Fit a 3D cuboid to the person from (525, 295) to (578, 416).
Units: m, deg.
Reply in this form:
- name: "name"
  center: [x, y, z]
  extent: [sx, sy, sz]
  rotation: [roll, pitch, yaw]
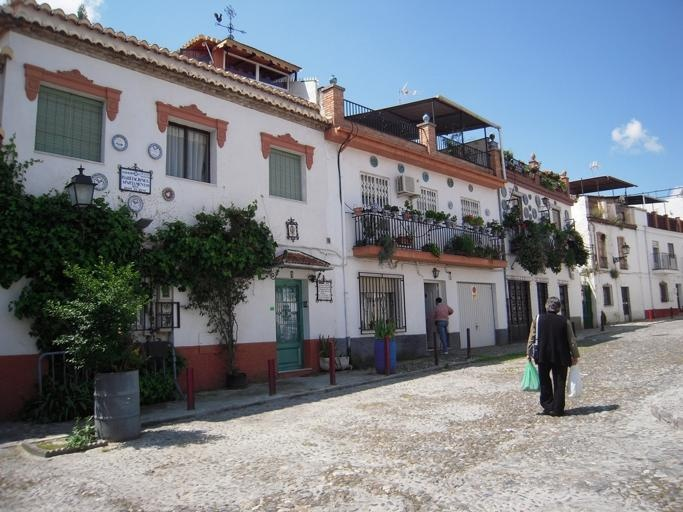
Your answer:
- name: "person"
  center: [3.884, 1.769, 9.883]
  extent: [0.721, 2.074, 0.637]
  rotation: [0, 10, 24]

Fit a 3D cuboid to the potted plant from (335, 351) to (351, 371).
- name: "potted plant"
  center: [0.056, 3.244, 16.476]
  extent: [0.408, 0.723, 0.537]
  rotation: [-9, -11, 33]

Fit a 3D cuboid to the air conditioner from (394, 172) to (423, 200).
- name: "air conditioner"
  center: [2.489, -2.545, 19.855]
  extent: [0.494, 0.843, 1.164]
  rotation: [-4, -3, 40]

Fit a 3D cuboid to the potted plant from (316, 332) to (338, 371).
- name: "potted plant"
  center: [-0.391, 2.892, 16.279]
  extent: [0.579, 1.135, 0.524]
  rotation: [-1, -2, -29]

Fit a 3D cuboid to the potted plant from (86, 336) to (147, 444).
- name: "potted plant"
  center: [-3.930, 2.314, 9.444]
  extent: [0.725, 1.751, 0.514]
  rotation: [-1, -2, -28]

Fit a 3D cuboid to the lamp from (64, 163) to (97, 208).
- name: "lamp"
  center: [-5.555, -1.486, 11.477]
  extent: [0.484, 0.896, 0.500]
  rotation: [0, -2, -37]
